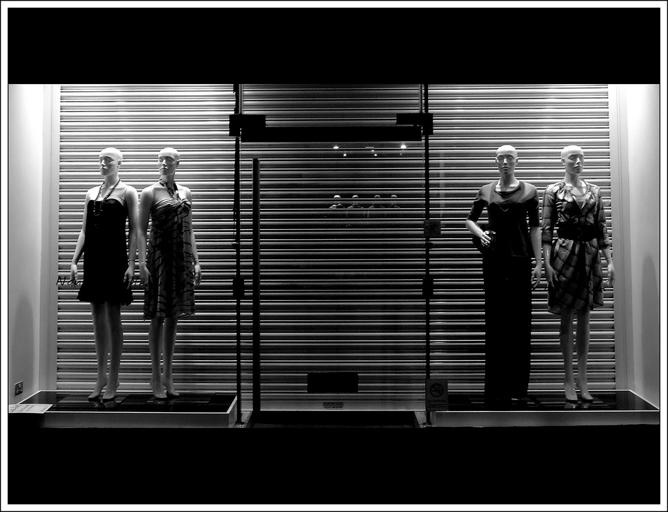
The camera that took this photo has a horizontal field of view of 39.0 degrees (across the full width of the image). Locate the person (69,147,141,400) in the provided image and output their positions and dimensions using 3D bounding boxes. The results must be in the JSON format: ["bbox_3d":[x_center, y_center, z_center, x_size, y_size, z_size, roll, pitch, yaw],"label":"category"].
[{"bbox_3d":[-1.622,0.121,6.621,0.424,1.776,0.542,6,-14,-13],"label":"person"}]

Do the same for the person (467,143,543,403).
[{"bbox_3d":[1.191,0.232,6.575,0.495,1.536,0.339,0,-14,10],"label":"person"}]

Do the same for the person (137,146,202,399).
[{"bbox_3d":[-1.177,0.122,6.631,0.394,1.740,0.572,-4,-15,22],"label":"person"}]

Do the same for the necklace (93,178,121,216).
[{"bbox_3d":[-1.604,-0.419,6.587,0.140,0.225,0.063,3,-11,10],"label":"necklace"}]

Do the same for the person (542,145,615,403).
[{"bbox_3d":[1.716,0.125,6.601,0.400,1.789,0.517,-8,-17,35],"label":"person"}]
